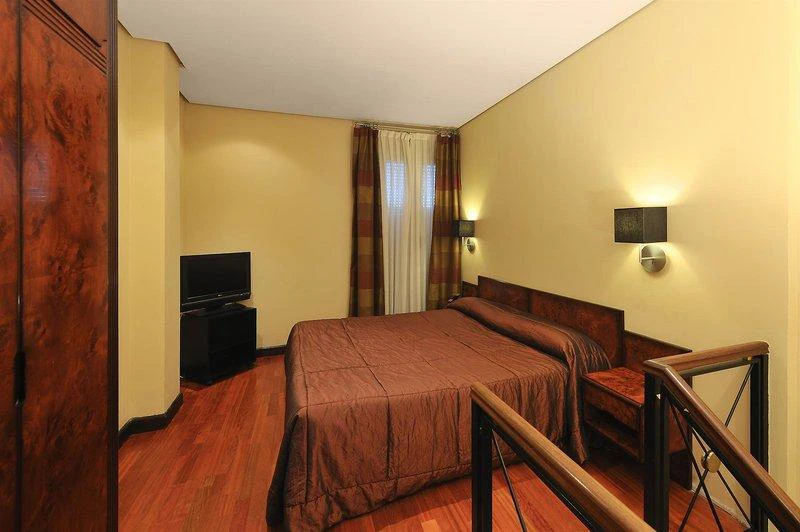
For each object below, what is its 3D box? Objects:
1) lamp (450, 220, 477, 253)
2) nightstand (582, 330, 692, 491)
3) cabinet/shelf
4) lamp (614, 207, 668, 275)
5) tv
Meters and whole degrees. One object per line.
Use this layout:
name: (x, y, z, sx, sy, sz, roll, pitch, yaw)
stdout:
lamp: (0.700, -0.331, 6.347, 0.206, 0.375, 0.391, -6, 15, -15)
nightstand: (1.696, 1.061, 4.027, 0.723, 1.011, 0.654, 8, 11, 44)
cabinet/shelf: (-1.774, 0.719, 5.553, 0.416, 0.678, 0.710, 6, 17, 30)
lamp: (1.763, -0.177, 4.167, 0.320, 0.525, 0.323, -7, 8, -10)
tv: (-1.784, 0.120, 5.573, 0.060, 0.581, 0.876, 7, 17, 33)
